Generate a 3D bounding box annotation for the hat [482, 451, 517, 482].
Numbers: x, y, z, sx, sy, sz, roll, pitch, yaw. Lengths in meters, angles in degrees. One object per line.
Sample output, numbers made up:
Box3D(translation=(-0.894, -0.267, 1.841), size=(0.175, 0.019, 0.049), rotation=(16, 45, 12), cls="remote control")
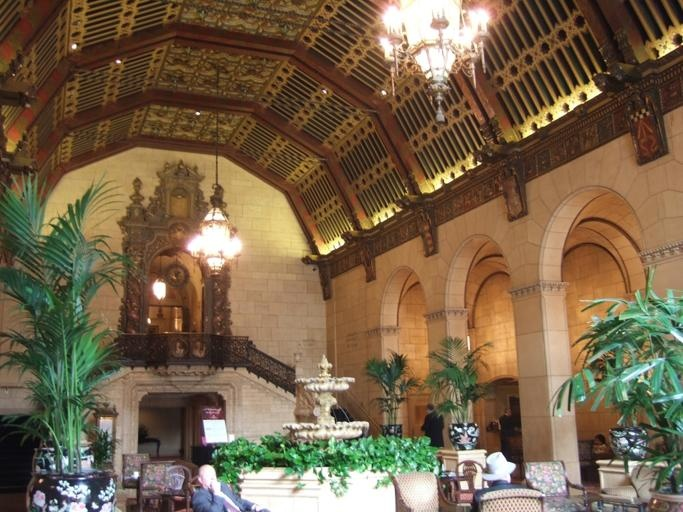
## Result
Box3D(translation=(1.619, 2.118, 6.284), size=(0.279, 0.334, 0.132), rotation=(-24, -74, 26), cls="hat")
